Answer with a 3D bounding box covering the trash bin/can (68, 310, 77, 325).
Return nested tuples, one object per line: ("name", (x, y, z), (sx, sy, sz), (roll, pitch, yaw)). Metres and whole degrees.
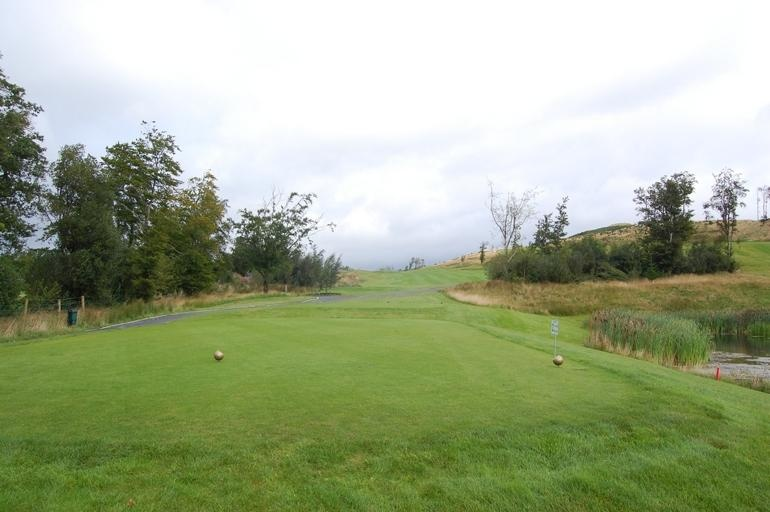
("trash bin/can", (-15.871, 3.137, 25.427), (0.483, 0.922, 0.613), (2, -4, -29))
